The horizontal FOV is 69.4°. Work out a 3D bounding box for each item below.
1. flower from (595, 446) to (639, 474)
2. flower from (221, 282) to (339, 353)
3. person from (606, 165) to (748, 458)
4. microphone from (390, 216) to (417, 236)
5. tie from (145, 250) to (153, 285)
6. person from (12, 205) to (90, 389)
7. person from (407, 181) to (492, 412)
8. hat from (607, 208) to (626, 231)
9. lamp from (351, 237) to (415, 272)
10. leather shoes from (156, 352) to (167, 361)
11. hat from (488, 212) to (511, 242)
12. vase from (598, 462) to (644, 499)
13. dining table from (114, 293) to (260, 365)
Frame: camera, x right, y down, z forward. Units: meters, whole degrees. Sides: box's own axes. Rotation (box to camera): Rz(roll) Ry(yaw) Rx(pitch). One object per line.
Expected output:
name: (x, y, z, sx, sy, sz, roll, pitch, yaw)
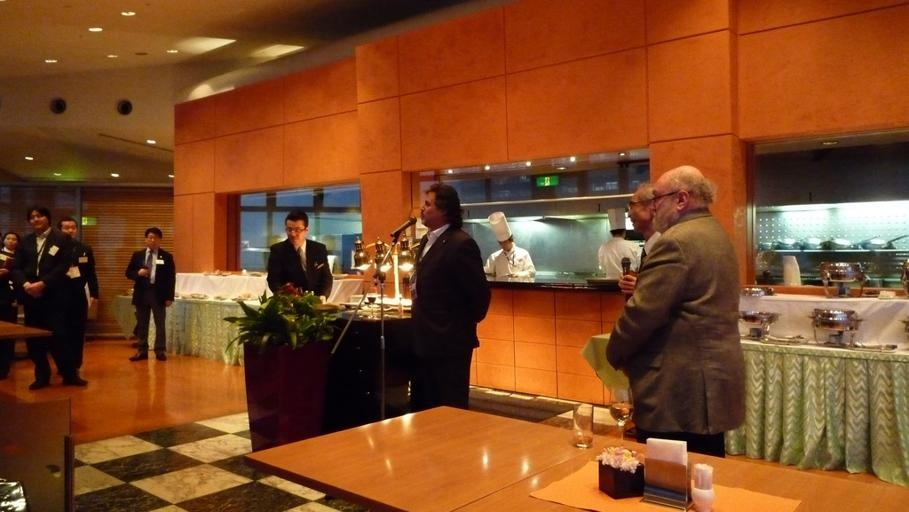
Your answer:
flower: (1.067, 1.350, 4.314, 0.204, 0.076, 0.190, 2, -4, 3)
flower: (-1.653, 0.624, 6.324, 0.827, 0.353, 0.788, 0, 2, 20)
person: (1.717, 0.424, 5.032, 1.007, 2.142, 0.667, 1, 12, 12)
microphone: (-0.615, -0.366, 8.054, 0.117, 0.383, 0.114, 43, 14, -45)
tie: (-4.918, 0.173, 10.651, 0.129, 0.513, 0.146, -7, 13, -23)
person: (-5.380, 0.591, 8.710, 0.740, 2.417, 0.562, -3, 12, -6)
person: (-0.111, 0.397, 6.070, 0.603, 2.050, 0.558, -11, 15, -37)
hat: (2.221, -0.504, 8.973, 0.311, 0.292, 0.287, -2, 0, 19)
lamp: (-0.658, 0.005, 6.460, 0.585, 0.282, 0.577, -1, -1, 36)
leather shoes: (-4.713, 1.628, 10.595, 0.156, 0.120, 0.238, -7, 12, -25)
hat: (0.669, -0.441, 9.699, 0.266, 0.382, 0.257, -13, 37, 24)
vase: (1.079, 1.454, 4.329, 0.321, 0.205, 0.212, 2, -5, -28)
dining table: (-4.534, 1.169, 11.055, 2.938, 0.727, 1.621, 0, 0, 38)
